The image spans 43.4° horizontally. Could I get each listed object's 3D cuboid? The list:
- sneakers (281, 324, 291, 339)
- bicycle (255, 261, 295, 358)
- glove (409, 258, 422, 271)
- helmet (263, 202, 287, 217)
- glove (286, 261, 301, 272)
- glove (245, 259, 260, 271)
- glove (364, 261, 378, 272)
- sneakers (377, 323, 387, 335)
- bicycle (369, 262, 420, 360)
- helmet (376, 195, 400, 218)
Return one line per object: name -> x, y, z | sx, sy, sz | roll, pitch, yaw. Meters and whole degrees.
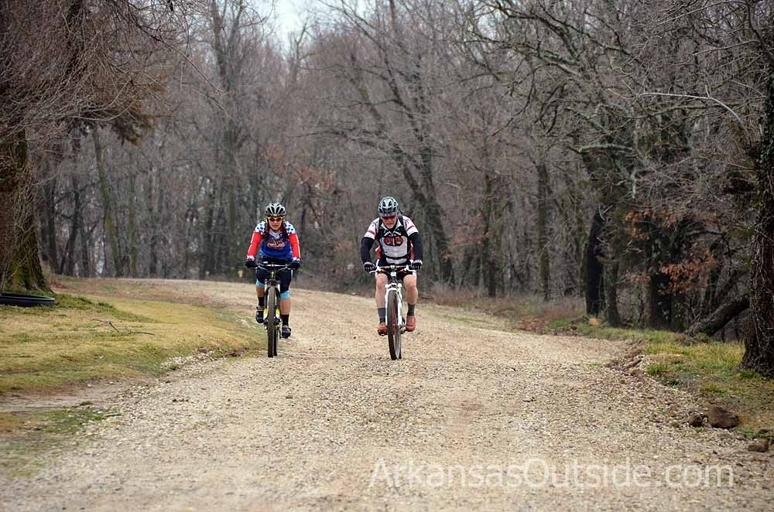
sneakers -> -2.439, 1.899, 23.560 | 0.160, 0.199, 0.421 | -1, -9, -9
bicycle -> -2.699, 1.326, 23.237 | 0.759, 2.296, 0.912 | 1, -3, 4
glove -> 0.674, 0.246, 23.157 | 0.256, 0.242, 0.610 | 1, -4, 4
helmet -> -2.619, -1.029, 22.988 | 0.437, 0.284, 0.378 | 3, -4, -17
glove -> -2.215, 0.276, 23.120 | 0.278, 0.175, 0.194 | -11, -10, 8
glove -> -3.573, 0.280, 25.903 | 0.493, 0.294, 0.857 | 1, 3, -3
glove -> -0.406, 0.299, 23.512 | 0.274, 0.159, 0.376 | 2, 7, -2
sneakers -> -0.116, 1.739, 22.906 | 0.221, 0.313, 0.142 | -3, -15, 3
bicycle -> 0.182, 1.401, 23.297 | 1.046, 2.279, 1.123 | 3, -3, -29
helmet -> -0.006, -1.127, 23.133 | 0.436, 0.558, 0.584 | -6, 30, 9
